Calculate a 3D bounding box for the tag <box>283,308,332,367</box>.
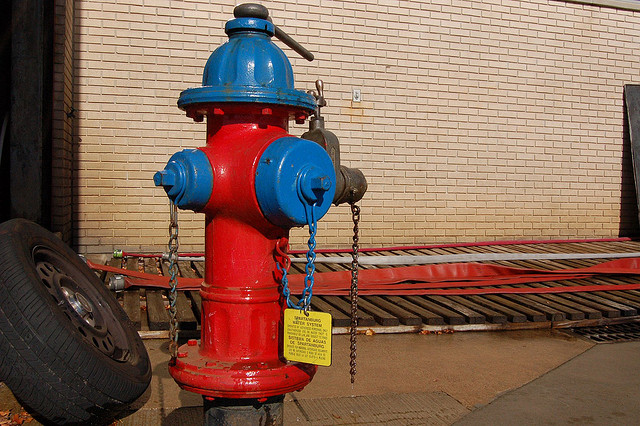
[{"bbox_3d":[-0.081,0.721,3.529,0.290,0.335,0.093,2,8,31],"label":"tag"}]
